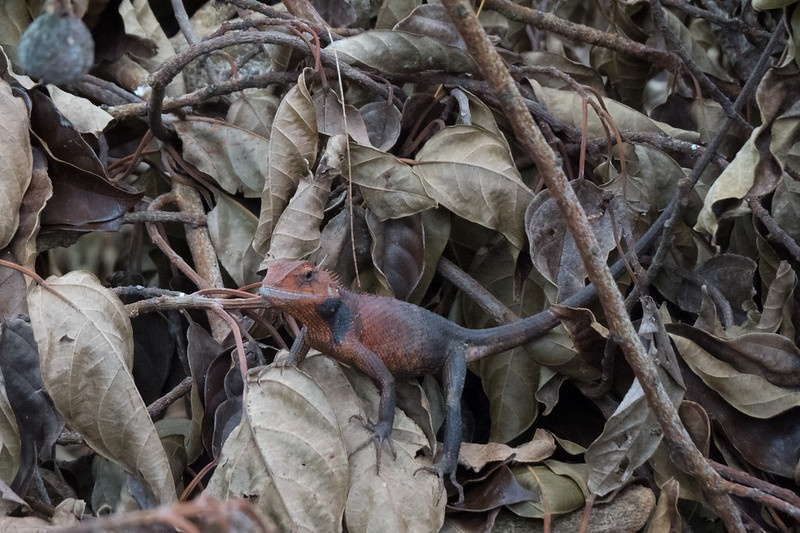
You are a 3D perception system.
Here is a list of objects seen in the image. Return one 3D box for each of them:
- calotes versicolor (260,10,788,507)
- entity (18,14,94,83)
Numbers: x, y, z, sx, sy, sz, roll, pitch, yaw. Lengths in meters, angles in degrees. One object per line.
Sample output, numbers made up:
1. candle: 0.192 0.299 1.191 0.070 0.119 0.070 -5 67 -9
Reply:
1. calotes versicolor: 0.291 -0.182 2.311 1.357 0.765 0.599 -22 28 -39
2. entity: -0.558 -0.357 1.572 0.099 0.148 0.109 1 5 9
